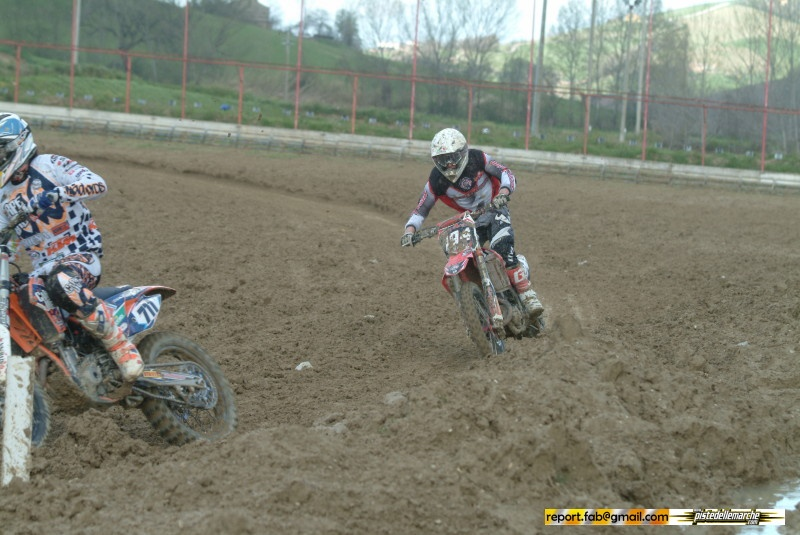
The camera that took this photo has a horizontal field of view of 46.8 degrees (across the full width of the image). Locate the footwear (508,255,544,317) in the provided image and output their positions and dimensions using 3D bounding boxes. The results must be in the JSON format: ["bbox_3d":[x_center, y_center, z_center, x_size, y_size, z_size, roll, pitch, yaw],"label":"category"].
[{"bbox_3d":[2.294,0.385,16.853,0.446,1.386,0.356,7,-41,-38],"label":"footwear"}]

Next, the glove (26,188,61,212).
[{"bbox_3d":[-5.348,-0.999,13.919,0.605,0.240,0.266,-26,-24,37],"label":"glove"}]

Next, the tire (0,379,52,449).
[{"bbox_3d":[-5.641,2.292,14.050,0.152,0.937,0.716,-3,-5,11],"label":"tire"}]

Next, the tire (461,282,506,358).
[{"bbox_3d":[1.467,0.864,15.804,0.169,1.109,1.072,-18,9,23],"label":"tire"}]
